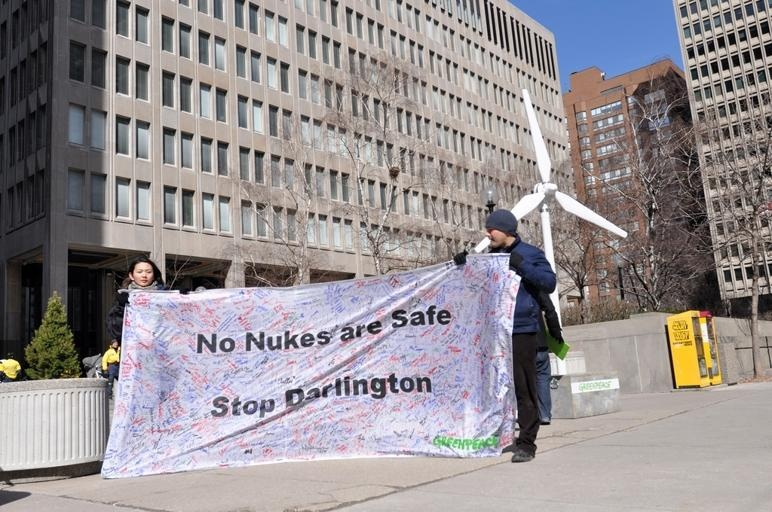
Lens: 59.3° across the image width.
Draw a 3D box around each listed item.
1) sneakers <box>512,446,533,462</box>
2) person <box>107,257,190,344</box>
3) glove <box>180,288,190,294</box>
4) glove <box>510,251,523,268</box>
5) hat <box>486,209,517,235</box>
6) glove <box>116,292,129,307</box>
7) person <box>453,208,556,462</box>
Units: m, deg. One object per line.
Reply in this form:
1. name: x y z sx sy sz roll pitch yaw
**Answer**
1. sneakers: 1.896 2.774 9.509 0.131 0.165 0.377 -9 -23 22
2. person: -3.983 0.715 10.820 0.786 1.314 0.584 6 1 -23
3. glove: -3.227 0.541 10.828 0.133 0.082 0.091 -4 2 -35
4. glove: 1.915 0.060 10.070 0.172 0.234 0.088 7 1 10
5. hat: 1.749 -0.525 10.346 0.381 0.331 0.373 7 0 -20
6. glove: -4.093 0.672 10.561 0.227 0.204 0.341 11 -15 -20
7. person: 1.995 1.087 10.115 0.734 3.743 1.227 5 1 -38
